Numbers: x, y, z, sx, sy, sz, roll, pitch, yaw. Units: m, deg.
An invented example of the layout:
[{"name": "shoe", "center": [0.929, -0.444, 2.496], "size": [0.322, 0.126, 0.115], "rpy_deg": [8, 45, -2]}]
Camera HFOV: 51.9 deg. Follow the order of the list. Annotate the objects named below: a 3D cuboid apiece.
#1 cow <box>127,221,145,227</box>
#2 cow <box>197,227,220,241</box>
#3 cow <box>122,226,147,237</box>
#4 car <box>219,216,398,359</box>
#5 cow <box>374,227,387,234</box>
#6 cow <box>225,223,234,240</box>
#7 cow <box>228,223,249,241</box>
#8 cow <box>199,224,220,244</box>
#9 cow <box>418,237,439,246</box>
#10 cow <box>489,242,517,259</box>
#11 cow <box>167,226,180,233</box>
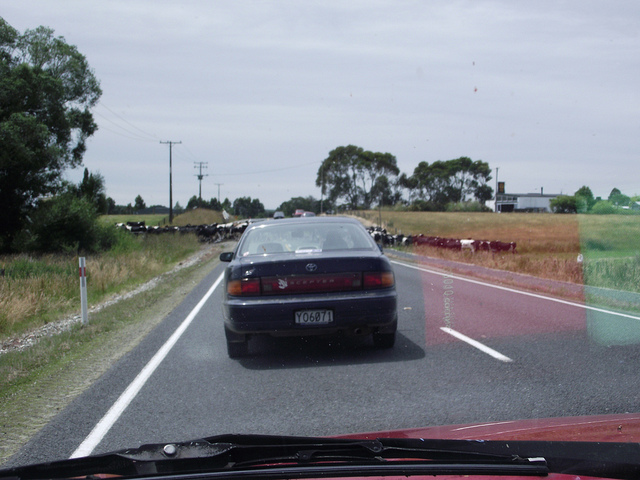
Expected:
[{"name": "cow", "center": [-16.434, -1.389, 58.640], "size": [1.336, 0.395, 1.480], "rpy_deg": [1, 4, 14]}, {"name": "cow", "center": [-8.069, -0.404, 47.496], "size": [1.202, 0.969, 2.832], "rpy_deg": [-2, 5, -2]}, {"name": "cow", "center": [-13.947, -0.761, 49.658], "size": [1.376, 0.519, 1.059], "rpy_deg": [5, -4, -9]}, {"name": "car", "center": [-0.045, 0.644, 9.526], "size": [1.555, 1.291, 2.815], "rpy_deg": [-2, 5, -6]}, {"name": "cow", "center": [4.094, -0.650, 44.891], "size": [0.685, 0.247, 0.551], "rpy_deg": [6, 5, 27]}, {"name": "cow", "center": [-7.241, -0.582, 52.390], "size": [0.447, 1.455, 0.432], "rpy_deg": [0, 4, -16]}, {"name": "cow", "center": [-5.006, -0.462, 39.531], "size": [0.939, 1.205, 3.016], "rpy_deg": [-2, 8, -24]}, {"name": "cow", "center": [-7.988, -0.593, 46.892], "size": [0.538, 1.330, 2.114], "rpy_deg": [-5, 16, -31]}, {"name": "cow", "center": [5.556, 0.170, 33.758], "size": [1.149, 0.322, 0.655], "rpy_deg": [-9, 0, -33]}, {"name": "cow", "center": [7.464, 0.339, 26.925], "size": [0.949, 0.348, 1.315], "rpy_deg": [-1, 5, 12]}, {"name": "cow", "center": [-11.416, -0.792, 51.175], "size": [0.606, 0.311, 0.778], "rpy_deg": [2, 5, -4]}]
